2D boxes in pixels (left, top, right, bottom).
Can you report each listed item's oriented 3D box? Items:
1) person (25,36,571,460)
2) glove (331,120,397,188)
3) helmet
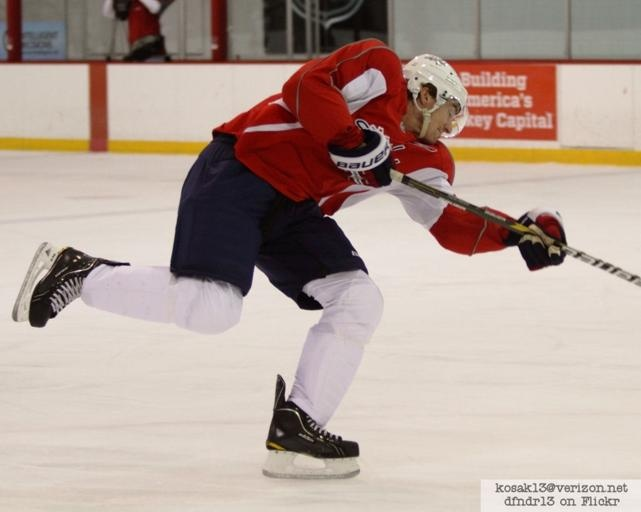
[{"bbox_3d":[-0.087,-0.058,3.134,1.691,1.362,0.699,2,6,-26],"label":"person"},{"bbox_3d":[0.154,-0.288,3.072,0.175,0.157,0.140,-12,29,22],"label":"glove"},{"bbox_3d":[0.412,-0.564,3.301,0.288,0.255,0.217,17,11,10],"label":"helmet"}]
